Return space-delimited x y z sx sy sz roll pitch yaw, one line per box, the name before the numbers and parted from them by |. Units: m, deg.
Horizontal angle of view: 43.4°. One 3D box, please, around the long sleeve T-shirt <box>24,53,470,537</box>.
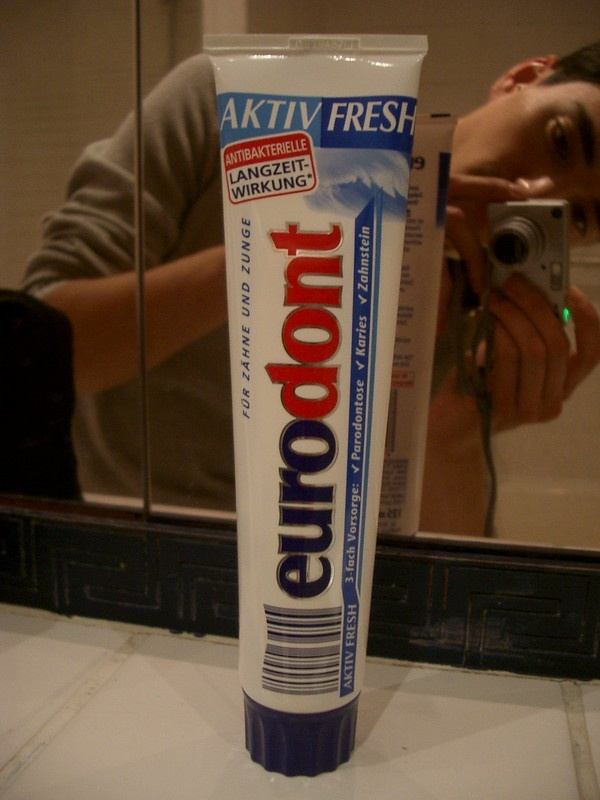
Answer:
long sleeve T-shirt | -0.183 -0.145 1.000 0.503 0.489 0.155 2 14 -5
